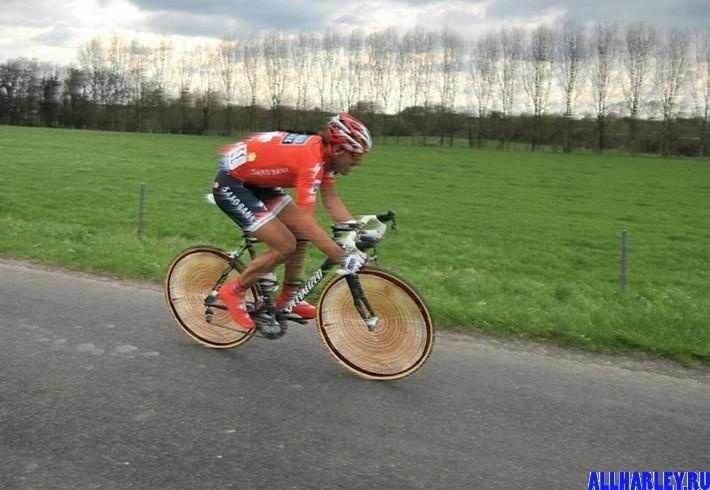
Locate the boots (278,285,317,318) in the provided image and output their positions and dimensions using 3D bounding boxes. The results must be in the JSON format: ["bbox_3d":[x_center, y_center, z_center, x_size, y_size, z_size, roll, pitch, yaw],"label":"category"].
[{"bbox_3d":[-0.478,0.603,6.086,0.641,0.171,0.361,10,-12,1],"label":"boots"}]

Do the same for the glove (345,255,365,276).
[{"bbox_3d":[-0.017,0.183,5.645,0.209,0.228,0.124,-5,17,-27],"label":"glove"}]

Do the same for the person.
[{"bbox_3d":[-0.668,-0.178,5.883,0.928,2.262,1.495,-11,21,-43],"label":"person"}]

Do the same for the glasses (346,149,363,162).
[{"bbox_3d":[0.002,-0.835,5.532,0.142,0.092,0.095,-9,12,14],"label":"glasses"}]
